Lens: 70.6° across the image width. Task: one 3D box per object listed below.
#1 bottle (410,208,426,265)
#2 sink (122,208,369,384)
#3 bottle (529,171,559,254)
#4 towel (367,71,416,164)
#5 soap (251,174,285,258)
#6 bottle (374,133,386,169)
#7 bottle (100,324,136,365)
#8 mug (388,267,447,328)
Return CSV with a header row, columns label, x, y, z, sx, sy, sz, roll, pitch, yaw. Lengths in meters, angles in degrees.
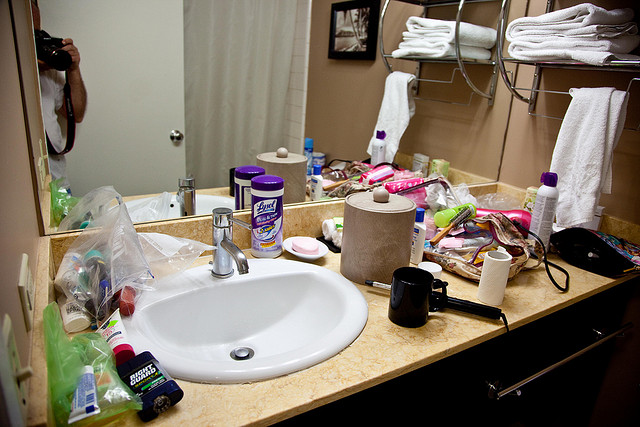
label,x,y,z,sx,sy,sz,roll,pitch,yaw
bottle,0.350,0.081,1.601,0.042,0.185,0.085,7,23,12
sink,-0.233,0.254,1.342,0.707,0.187,0.553,-10,21,-32
bottle,0.817,-0.008,1.649,0.077,0.280,0.087,10,24,18
towel,0.311,-0.404,1.940,0.214,0.345,0.091,18,10,16
soap,-0.181,0.008,1.579,0.104,0.272,0.119,-7,22,-32
bottle,0.251,-0.269,1.889,0.035,0.130,0.063,18,27,33
bottle,-0.532,0.313,1.166,0.058,0.081,0.058,-32,-1,-1
mug,0.299,0.246,1.335,0.174,0.138,0.112,5,20,16
